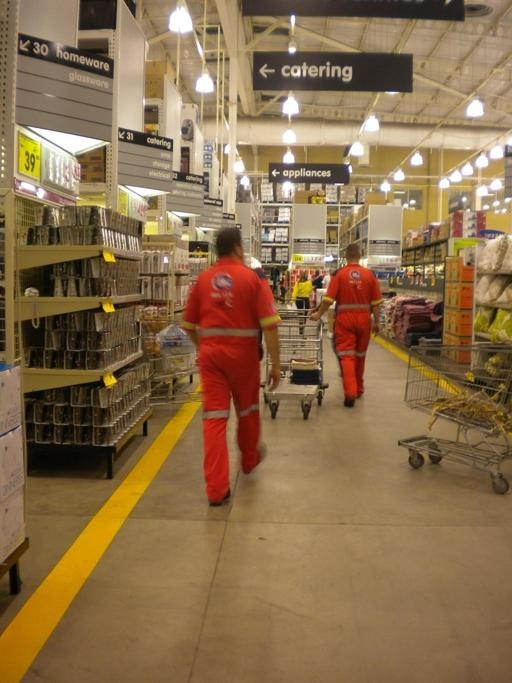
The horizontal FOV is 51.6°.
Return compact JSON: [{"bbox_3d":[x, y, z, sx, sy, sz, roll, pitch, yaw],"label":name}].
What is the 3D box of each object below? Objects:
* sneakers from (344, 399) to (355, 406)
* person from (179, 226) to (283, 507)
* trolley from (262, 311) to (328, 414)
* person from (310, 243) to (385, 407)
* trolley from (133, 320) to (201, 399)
[{"bbox_3d":[1.047,0.676,5.914,0.115,0.106,0.113,0,2,3],"label":"sneakers"},{"bbox_3d":[-0.131,0.124,3.154,0.525,1.587,0.487,-1,2,-24],"label":"person"},{"bbox_3d":[0.439,0.171,6.258,0.753,1.152,1.687,1,8,8],"label":"trolley"},{"bbox_3d":[1.068,-0.207,6.039,0.656,1.861,0.942,1,2,23],"label":"person"},{"bbox_3d":[-1.038,0.220,6.073,0.685,0.827,1.299,12,3,-8],"label":"trolley"}]
